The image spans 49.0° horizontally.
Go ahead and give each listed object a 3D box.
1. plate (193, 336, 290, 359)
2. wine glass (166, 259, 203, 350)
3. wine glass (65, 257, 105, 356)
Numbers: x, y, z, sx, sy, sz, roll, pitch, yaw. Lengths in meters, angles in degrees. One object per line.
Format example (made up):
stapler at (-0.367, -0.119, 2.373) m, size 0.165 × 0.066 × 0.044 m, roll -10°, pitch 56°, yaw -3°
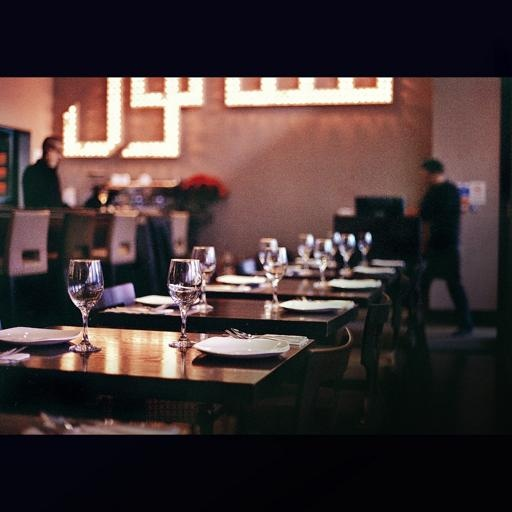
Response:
plate at (-0.034, 0.226, 1.399) m, size 0.231 × 0.031 × 0.190 m, roll 0°, pitch 2°, yaw 4°
wine glass at (-0.200, 0.124, 1.531) m, size 0.093 × 0.231 × 0.168 m, roll -1°, pitch 3°, yaw -20°
wine glass at (-0.461, 0.127, 1.521) m, size 0.087 × 0.237 × 0.195 m, roll -1°, pitch 2°, yaw -18°
